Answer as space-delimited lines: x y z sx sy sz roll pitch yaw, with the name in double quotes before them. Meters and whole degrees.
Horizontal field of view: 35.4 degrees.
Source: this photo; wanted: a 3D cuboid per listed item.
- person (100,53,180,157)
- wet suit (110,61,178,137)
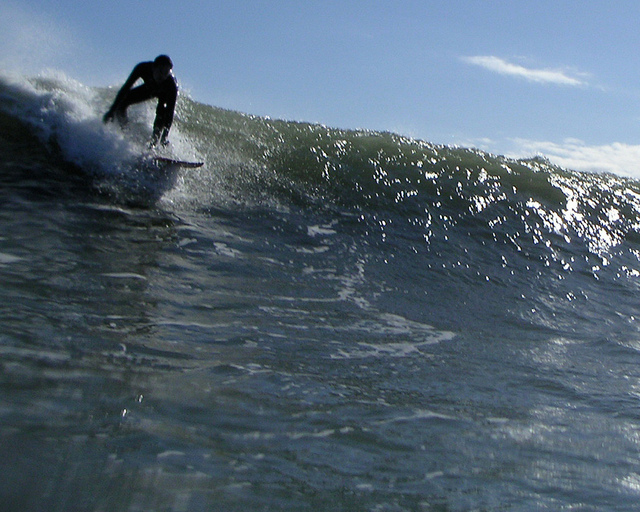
"person" -2.062 -1.765 11.617 0.813 1.171 0.746 14 11 -13
"wet suit" -2.040 -1.829 11.635 0.720 0.859 0.700 14 11 -9
